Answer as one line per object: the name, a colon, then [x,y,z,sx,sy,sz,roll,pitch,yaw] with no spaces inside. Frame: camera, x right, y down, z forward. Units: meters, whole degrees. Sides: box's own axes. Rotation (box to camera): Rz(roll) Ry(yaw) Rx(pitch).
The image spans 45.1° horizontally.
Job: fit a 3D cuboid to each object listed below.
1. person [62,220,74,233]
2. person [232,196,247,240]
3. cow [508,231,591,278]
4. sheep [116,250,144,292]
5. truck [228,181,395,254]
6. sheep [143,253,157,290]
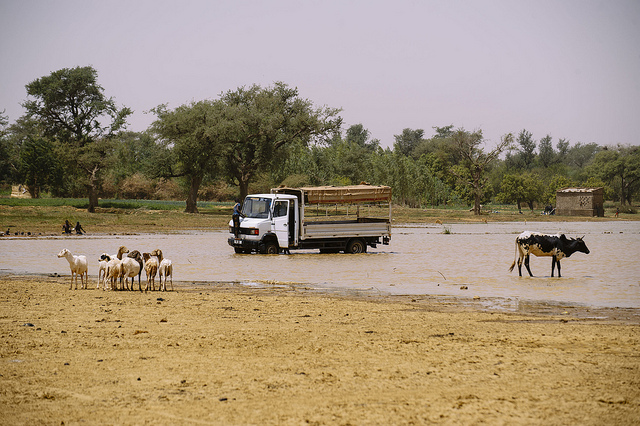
person: [-19.775,1.117,60.065,0.834,0.971,0.298,-1,-10,-8]
person: [-4.471,0.450,41.991,0.629,1.662,2.881,0,9,-7]
cow: [10.229,1.879,35.125,2.178,2.117,3.172,8,12,40]
sheep: [-7.293,2.221,29.744,0.576,1.585,1.878,-6,-6,13]
truck: [-0.205,0.357,42.884,8.740,4.595,4.163,2,-2,-36]
sheep: [-6.576,2.336,29.763,0.492,1.276,1.188,-2,9,-15]
